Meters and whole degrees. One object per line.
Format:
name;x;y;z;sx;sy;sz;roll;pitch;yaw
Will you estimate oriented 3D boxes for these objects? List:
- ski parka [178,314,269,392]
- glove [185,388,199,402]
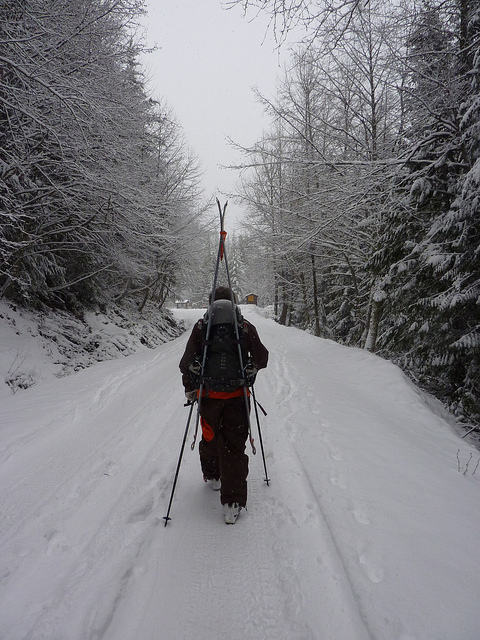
ski parka;-0.168;0.308;3.896;0.723;0.815;0.399;0;18;-2
glove;-0.450;0.682;3.902;0.081;0.113;0.122;2;-25;-8
